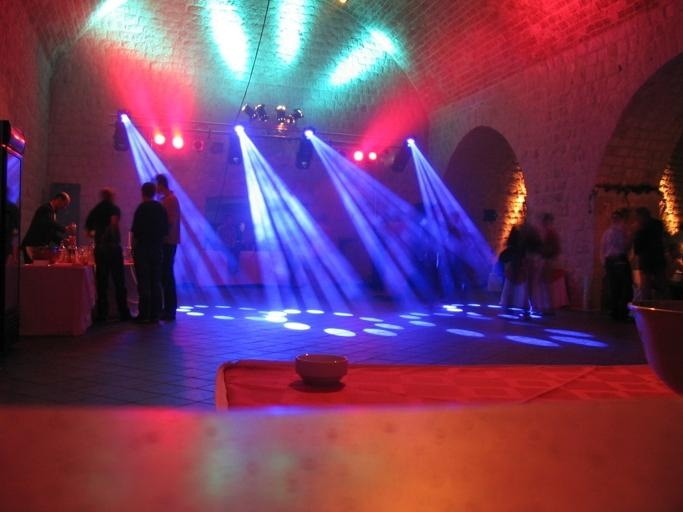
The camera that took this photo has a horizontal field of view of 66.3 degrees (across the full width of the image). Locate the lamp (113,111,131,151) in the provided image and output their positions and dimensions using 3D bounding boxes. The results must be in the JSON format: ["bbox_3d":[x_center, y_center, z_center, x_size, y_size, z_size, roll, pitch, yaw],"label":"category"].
[{"bbox_3d":[-4.075,-2.299,9.637,0.267,0.641,0.419,-1,-6,-23],"label":"lamp"}]

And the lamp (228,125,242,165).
[{"bbox_3d":[-2.115,-2.157,10.348,0.142,0.616,0.332,7,7,15],"label":"lamp"}]

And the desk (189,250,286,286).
[{"bbox_3d":[-2.153,0.235,9.997,1.763,0.684,0.238,-4,-5,4],"label":"desk"}]

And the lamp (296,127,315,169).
[{"bbox_3d":[-0.741,-2.190,10.647,0.363,0.682,0.218,-8,33,-32],"label":"lamp"}]

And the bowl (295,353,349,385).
[{"bbox_3d":[-0.047,0.211,1.017,0.067,0.032,0.068,0,-4,0],"label":"bowl"}]

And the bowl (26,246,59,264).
[{"bbox_3d":[-2.877,-0.010,5.050,0.202,0.102,0.203,2,-1,0],"label":"bowl"}]

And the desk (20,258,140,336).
[{"bbox_3d":[-2.705,0.244,5.308,0.711,0.469,0.910,4,11,5],"label":"desk"}]
